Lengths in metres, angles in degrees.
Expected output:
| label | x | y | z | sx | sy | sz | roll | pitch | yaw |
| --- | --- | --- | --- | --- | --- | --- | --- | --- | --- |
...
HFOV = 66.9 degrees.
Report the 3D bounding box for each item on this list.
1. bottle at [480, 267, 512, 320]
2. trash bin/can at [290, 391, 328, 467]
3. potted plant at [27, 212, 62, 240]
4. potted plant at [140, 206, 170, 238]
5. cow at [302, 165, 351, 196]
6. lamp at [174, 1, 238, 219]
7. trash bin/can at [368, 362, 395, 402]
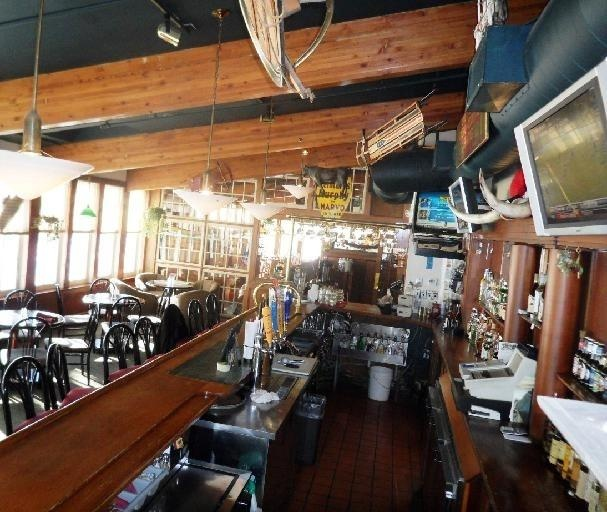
| label | x | y | z | sx | sy | sz | roll | pitch | yaw |
| --- | --- | --- | --- | --- | --- | --- | --- | --- | --- |
| bottle | 2.056 | 0.425 | 4.986 | 0.243 | 0.340 | 0.855 | 0 | -4 | 10 |
| trash bin/can | 0.030 | 1.587 | 4.157 | 0.235 | 0.511 | 0.556 | 9 | 5 | 7 |
| potted plant | -4.088 | -0.486 | 7.249 | 0.492 | 0.149 | 0.377 | 5 | -33 | 6 |
| potted plant | -3.057 | -0.732 | 9.690 | 0.532 | 0.561 | 0.550 | 4 | 5 | 21 |
| cow | 0.577 | -1.401 | 8.454 | 1.120 | 0.597 | 0.351 | 9 | 4 | 8 |
| lamp | -1.203 | -1.421 | 5.924 | 0.591 | 1.705 | 4.272 | 8 | 5 | -13 |
| trash bin/can | 0.997 | 1.704 | 6.296 | 0.397 | 0.440 | 0.415 | 2 | 3 | -3 |
